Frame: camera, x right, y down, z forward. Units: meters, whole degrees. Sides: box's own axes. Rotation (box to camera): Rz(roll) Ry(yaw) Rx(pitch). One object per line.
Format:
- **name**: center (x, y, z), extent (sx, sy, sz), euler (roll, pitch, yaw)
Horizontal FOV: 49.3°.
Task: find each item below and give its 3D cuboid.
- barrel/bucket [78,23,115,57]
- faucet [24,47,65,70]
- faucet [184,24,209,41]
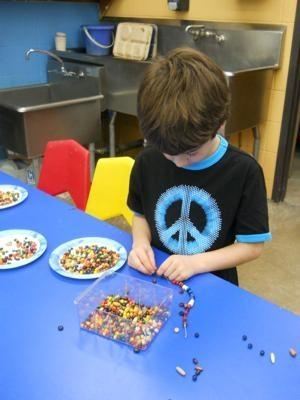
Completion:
- **barrel/bucket**: center (-0.523, -1.625, 3.224), extent (0.290, 0.246, 0.297), euler (0, 31, 0)
- **faucet**: center (-0.964, -1.296, 3.033), extent (0.359, 0.182, 0.651), euler (-4, 27, -20)
- **faucet**: center (0.400, -1.484, 2.879), extent (0.184, 0.127, 0.264), euler (7, 24, 3)
